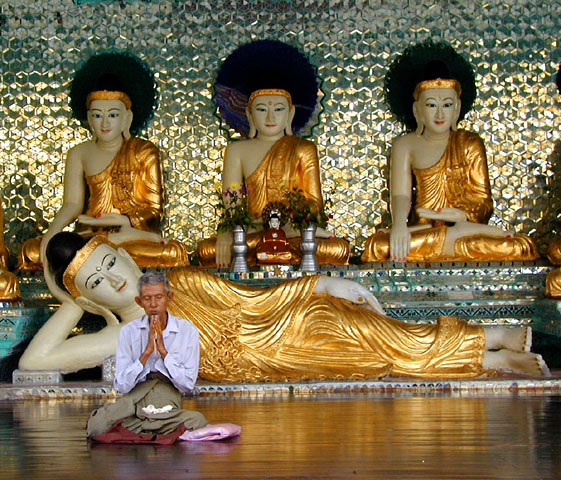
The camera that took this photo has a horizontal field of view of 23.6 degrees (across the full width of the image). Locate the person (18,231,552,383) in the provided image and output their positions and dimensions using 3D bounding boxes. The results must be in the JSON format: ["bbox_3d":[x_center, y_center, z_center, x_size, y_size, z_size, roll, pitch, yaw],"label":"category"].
[{"bbox_3d":[0.080,0.271,8.385,2.839,0.793,1.174,-2,4,-1],"label":"person"}]

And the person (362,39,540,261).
[{"bbox_3d":[1.189,-0.624,9.836,1.301,1.449,1.025,-3,22,-14],"label":"person"}]
